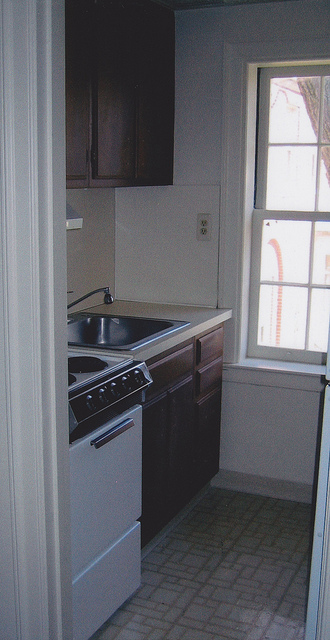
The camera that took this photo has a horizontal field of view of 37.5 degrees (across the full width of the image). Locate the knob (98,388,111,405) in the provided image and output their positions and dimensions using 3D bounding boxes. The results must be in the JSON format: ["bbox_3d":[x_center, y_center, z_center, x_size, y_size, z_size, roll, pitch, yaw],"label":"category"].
[{"bbox_3d":[-0.198,0.250,1.570,0.012,0.043,0.033,-12,33,6],"label":"knob"}]

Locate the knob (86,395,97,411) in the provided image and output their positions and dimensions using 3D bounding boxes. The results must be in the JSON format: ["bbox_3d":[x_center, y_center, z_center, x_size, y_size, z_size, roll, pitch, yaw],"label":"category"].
[{"bbox_3d":[-0.228,0.259,1.496,0.021,0.047,0.051,2,5,11],"label":"knob"}]

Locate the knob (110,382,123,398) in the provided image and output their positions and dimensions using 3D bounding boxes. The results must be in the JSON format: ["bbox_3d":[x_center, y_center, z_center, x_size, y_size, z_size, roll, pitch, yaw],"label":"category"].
[{"bbox_3d":[-0.165,0.237,1.640,0.032,0.064,0.043,-2,30,19],"label":"knob"}]

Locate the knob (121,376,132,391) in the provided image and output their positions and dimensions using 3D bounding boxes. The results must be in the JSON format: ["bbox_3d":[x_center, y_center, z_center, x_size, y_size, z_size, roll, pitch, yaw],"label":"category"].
[{"bbox_3d":[-0.137,0.225,1.696,0.015,0.052,0.026,-19,31,-7],"label":"knob"}]

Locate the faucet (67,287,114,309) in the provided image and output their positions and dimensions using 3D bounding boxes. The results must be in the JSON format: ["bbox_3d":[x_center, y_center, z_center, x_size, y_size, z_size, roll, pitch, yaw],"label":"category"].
[{"bbox_3d":[-0.356,-0.118,2.293,0.176,0.080,0.372,0,6,-11],"label":"faucet"}]

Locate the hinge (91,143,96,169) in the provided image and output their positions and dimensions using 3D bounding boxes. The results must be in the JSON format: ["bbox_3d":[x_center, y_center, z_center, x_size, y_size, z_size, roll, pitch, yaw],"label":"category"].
[{"bbox_3d":[-0.297,-0.676,2.015,0.010,0.086,0.032,2,5,15],"label":"hinge"}]
